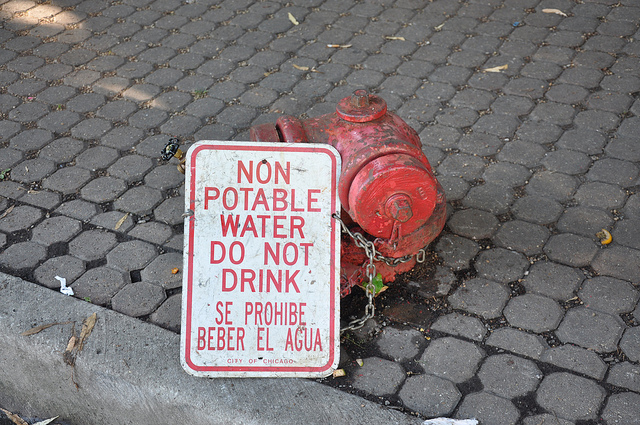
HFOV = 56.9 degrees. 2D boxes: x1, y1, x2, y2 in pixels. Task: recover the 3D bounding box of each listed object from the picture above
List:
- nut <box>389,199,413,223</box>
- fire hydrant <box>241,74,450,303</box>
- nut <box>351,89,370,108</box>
[{"bbox_3d":[0.567,-0.006,4.150,0.133,0.129,0.117,-28,54,-16],"label":"nut"},{"bbox_3d":[0.219,-0.115,4.516,1.440,1.352,0.979,-20,30,-5],"label":"fire hydrant"},{"bbox_3d":[0.314,-0.851,4.530,0.138,0.091,0.130,-30,47,-28],"label":"nut"}]
